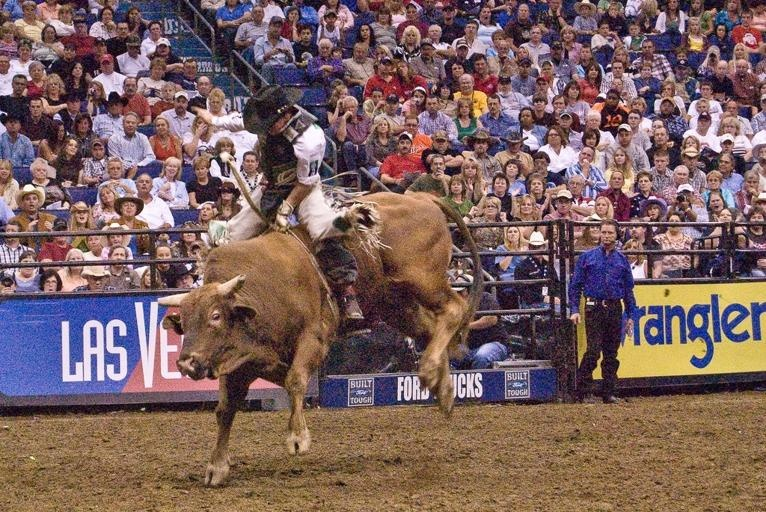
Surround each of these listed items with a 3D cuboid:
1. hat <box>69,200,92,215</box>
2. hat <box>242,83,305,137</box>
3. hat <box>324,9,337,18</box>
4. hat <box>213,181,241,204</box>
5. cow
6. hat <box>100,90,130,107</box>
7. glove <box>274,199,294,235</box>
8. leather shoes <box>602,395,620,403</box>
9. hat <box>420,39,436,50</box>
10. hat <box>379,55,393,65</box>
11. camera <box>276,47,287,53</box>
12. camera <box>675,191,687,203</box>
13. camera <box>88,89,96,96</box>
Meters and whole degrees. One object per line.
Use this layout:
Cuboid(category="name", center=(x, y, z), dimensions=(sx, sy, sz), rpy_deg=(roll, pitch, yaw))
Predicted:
Cuboid(category="hat", center=(-4.864, -0.793, 27.063), dimensions=(0.226, 0.115, 0.281), rpy_deg=(2, -9, -16))
Cuboid(category="hat", center=(-1.478, -1.923, 22.737), dimensions=(0.614, 0.751, 0.312), rpy_deg=(45, -8, 40))
Cuboid(category="hat", center=(-1.002, -4.619, 32.222), dimensions=(0.296, 0.128, 0.395), rpy_deg=(0, -4, -7))
Cuboid(category="hat", center=(-2.467, -1.064, 27.144), dimensions=(0.299, 0.133, 0.351), rpy_deg=(11, -27, 8))
Cuboid(category="cow", center=(-0.644, 0.957, 23.158), dimensions=(6.051, 3.232, 1.653), rpy_deg=(-15, 7, -44))
Cuboid(category="hat", center=(-4.683, -2.746, 29.515), dimensions=(0.312, 0.131, 0.352), rpy_deg=(-15, -7, -4))
Cuboid(category="glove", center=(-1.319, -0.546, 22.727), dimensions=(0.256, 0.396, 0.169), rpy_deg=(5, -12, 21))
Cuboid(category="leather shoes", center=(3.549, 2.178, 26.187), dimensions=(0.184, 0.111, 0.116), rpy_deg=(8, -10, -9))
Cuboid(category="hat", center=(0.834, -3.991, 31.860), dimensions=(0.321, 0.193, 0.453), rpy_deg=(-1, -9, 3))
Cuboid(category="hat", center=(0.054, -3.560, 30.710), dimensions=(0.203, 0.114, 0.277), rpy_deg=(4, -5, -5))
Cuboid(category="camera", center=(-1.869, -3.777, 30.999), dimensions=(0.111, 0.054, 0.149), rpy_deg=(0, 4, -39))
Cuboid(category="camera", center=(5.165, -1.035, 29.197), dimensions=(0.183, 0.094, 0.197), rpy_deg=(9, 3, 12))
Cuboid(category="camera", center=(-5.074, -2.863, 29.464), dimensions=(0.092, 0.122, 0.052), rpy_deg=(3, 7, -7))
